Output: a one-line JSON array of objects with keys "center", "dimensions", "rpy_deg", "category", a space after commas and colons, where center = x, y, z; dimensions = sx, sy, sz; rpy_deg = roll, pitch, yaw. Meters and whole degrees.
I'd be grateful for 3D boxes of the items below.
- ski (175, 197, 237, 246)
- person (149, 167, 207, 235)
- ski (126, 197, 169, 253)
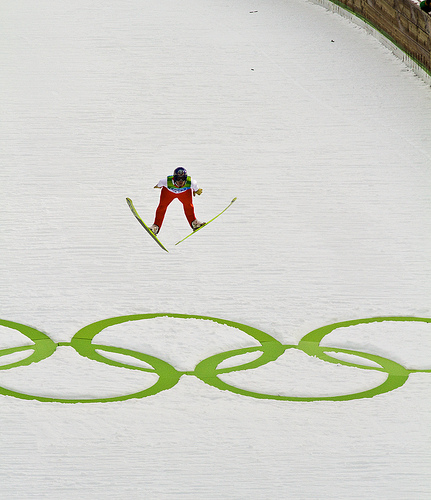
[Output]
[{"center": [-0.114, -0.316, 9.892], "dimensions": [0.078, 0.974, 0.101], "rpy_deg": [55, 8, -24], "category": "ski"}, {"center": [-0.451, -0.545, 9.954], "dimensions": [0.919, 0.935, 0.624], "rpy_deg": [3, 55, -4], "category": "person"}, {"center": [-0.790, -0.265, 9.662], "dimensions": [0.085, 0.092, 0.845], "rpy_deg": [-29, 68, -31], "category": "ski"}]
